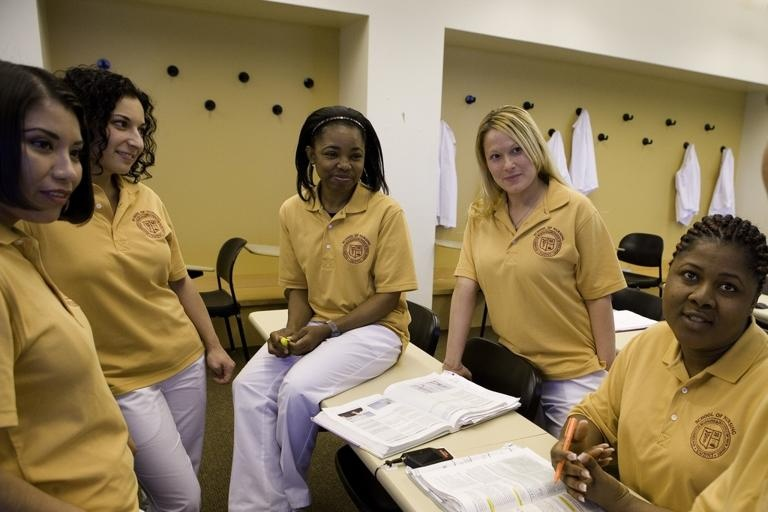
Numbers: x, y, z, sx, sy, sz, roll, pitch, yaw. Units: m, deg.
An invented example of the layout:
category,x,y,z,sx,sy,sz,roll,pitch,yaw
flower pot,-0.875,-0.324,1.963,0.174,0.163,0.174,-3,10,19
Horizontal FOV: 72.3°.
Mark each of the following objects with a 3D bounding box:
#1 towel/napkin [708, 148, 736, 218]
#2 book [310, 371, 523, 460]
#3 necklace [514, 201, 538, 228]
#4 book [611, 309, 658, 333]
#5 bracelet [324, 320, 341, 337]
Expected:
category,x,y,z,sx,sy,sz,roll,pitch,yaw
towel/napkin,4.399,-0.990,6.828,0.274,0.849,0.545,5,12,31
book,0.063,0.598,1.967,0.429,0.047,0.288,-9,11,-33
necklace,0.650,-0.188,2.446,0.048,0.127,0.094,35,14,7
book,1.400,0.367,2.955,0.254,0.031,0.266,-5,12,-14
bracelet,-0.229,0.332,2.380,0.052,0.075,0.081,-29,-21,-11
